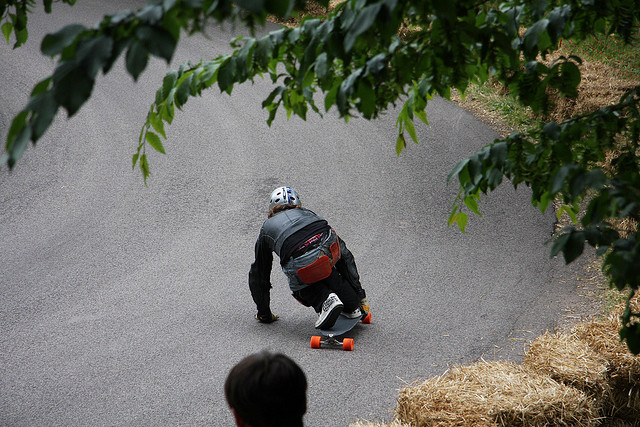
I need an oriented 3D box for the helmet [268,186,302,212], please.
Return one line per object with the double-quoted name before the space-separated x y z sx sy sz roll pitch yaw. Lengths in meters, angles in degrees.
"helmet" -0.453 -0.149 8.031 0.267 0.327 0.343 6 -16 -43
